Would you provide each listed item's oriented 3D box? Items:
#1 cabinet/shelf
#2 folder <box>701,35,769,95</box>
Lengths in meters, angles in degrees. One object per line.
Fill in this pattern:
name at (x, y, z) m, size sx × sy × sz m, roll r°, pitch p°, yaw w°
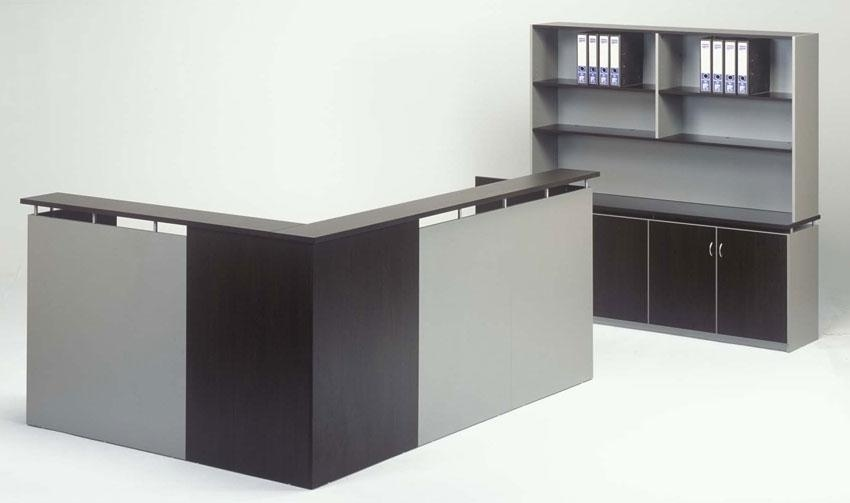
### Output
cabinet/shelf at (2.592, -0.585, 7.363) m, size 3.326 × 3.238 × 0.886 m, roll 5°, pitch 9°, yaw 38°
folder at (3.100, -1.893, 7.568) m, size 0.781 × 0.556 × 0.767 m, roll 3°, pitch 13°, yaw 26°
